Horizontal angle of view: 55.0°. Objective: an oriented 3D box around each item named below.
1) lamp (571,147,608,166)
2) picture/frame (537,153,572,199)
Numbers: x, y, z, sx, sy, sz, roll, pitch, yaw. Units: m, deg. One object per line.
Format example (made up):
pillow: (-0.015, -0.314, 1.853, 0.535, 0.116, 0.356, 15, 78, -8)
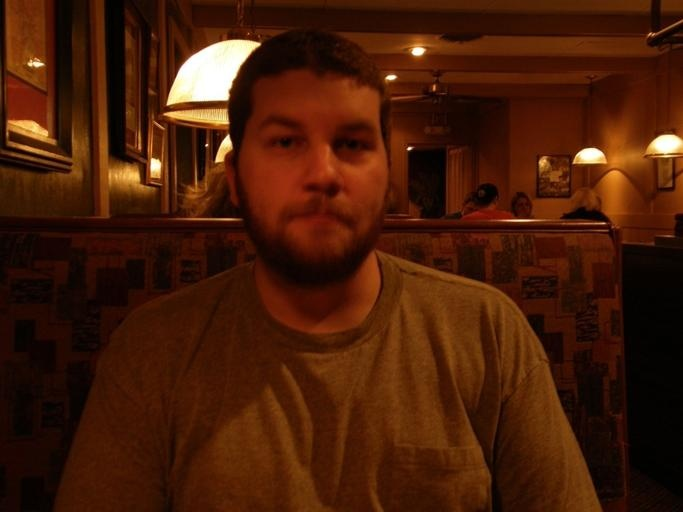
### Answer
lamp: (2.906, -1.156, 7.779, 0.374, 0.216, 0.407, -1, -1, -4)
picture/frame: (3.208, -1.245, 9.918, 0.654, 0.983, 0.074, 0, 1, 1)
